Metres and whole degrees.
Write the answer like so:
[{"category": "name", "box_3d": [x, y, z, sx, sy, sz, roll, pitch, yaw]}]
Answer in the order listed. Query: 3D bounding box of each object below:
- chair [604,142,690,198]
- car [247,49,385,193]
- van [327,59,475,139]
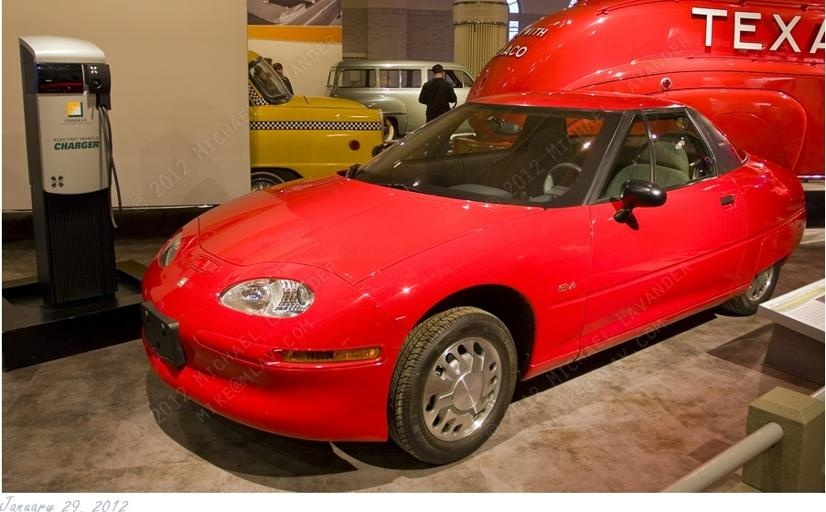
[{"category": "chair", "box_3d": [1.692, -0.673, 3.930, 0.681, 0.421, 0.503, -10, 10, -31]}, {"category": "car", "box_3d": [-1.350, -1.759, 6.867, 2.308, 1.264, 1.300, -6, 25, -9]}, {"category": "van", "box_3d": [-0.210, -3.668, 12.604, 3.576, 1.568, 1.953, -5, 24, -9]}]
